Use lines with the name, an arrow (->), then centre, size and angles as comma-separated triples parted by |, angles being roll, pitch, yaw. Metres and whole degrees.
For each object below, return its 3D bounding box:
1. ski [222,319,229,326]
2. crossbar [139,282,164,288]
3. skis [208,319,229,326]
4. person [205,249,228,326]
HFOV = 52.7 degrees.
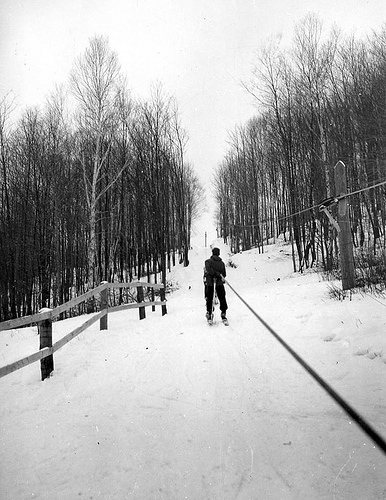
ski -> 0.620, 1.368, 7.412 | 0.089, 0.095, 0.204 | -2, 6, -6
crossbar -> -0.960, 0.797, 9.249 | 0.070, 0.179, 0.833 | 0, -9, 32
skis -> 0.481, 1.380, 7.448 | 0.396, 0.112, 0.231 | -2, 6, 6
person -> 0.452, 0.692, 7.784 | 0.427, 1.391, 0.984 | -1, 4, 3
